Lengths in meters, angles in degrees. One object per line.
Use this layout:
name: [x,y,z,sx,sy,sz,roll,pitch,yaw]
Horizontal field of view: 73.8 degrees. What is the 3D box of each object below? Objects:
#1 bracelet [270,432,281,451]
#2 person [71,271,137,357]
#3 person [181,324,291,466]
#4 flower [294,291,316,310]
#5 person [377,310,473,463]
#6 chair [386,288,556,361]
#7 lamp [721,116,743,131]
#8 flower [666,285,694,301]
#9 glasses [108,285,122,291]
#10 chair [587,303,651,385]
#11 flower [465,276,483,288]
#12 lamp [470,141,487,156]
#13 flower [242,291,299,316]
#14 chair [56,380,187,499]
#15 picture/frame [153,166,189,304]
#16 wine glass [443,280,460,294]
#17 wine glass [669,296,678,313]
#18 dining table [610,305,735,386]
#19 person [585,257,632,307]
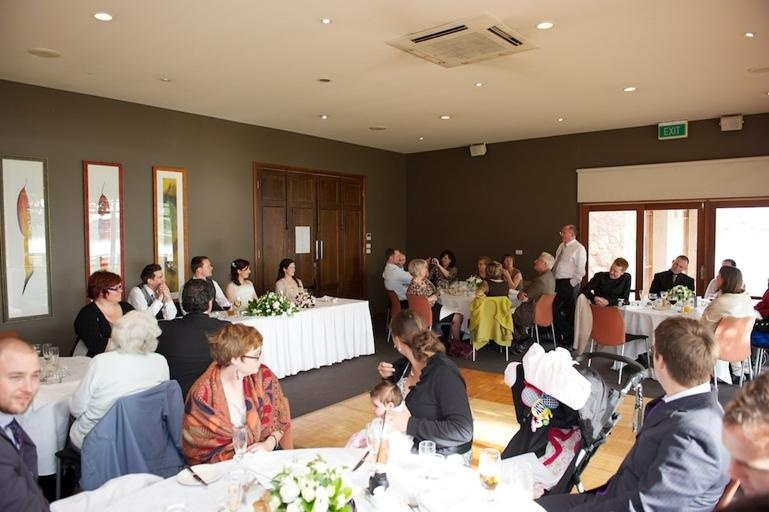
bracelet: [-0.806,1.336,3.737,0.089,0.127,0.067,0,-1,-23]
person: [-3.049,0.656,5.545,0.552,0.976,0.728,7,4,10]
person: [-1.042,1.082,3.680,0.566,1.092,0.802,4,2,41]
flower: [-1.198,0.639,7.526,0.237,0.211,0.234,-3,3,-38]
person: [0.222,0.863,3.626,0.538,0.925,0.684,-2,3,-30]
chair: [1.376,0.966,7.771,1.432,0.755,1.215,-1,-2,35]
lamp: [5.829,-2.230,8.587,0.335,0.255,0.146,1,3,37]
flower: [4.196,0.518,7.230,0.262,0.201,0.256,-1,-1,12]
glasses: [-2.900,0.330,5.448,0.123,0.041,0.124,-2,6,17]
chair: [3.187,1.119,6.980,0.689,0.981,0.644,-3,4,-15]
flower: [1.582,0.443,8.984,0.198,0.144,0.207,3,-3,-14]
lamp: [2.026,-2.327,11.066,0.315,0.248,0.221,-1,18,31]
flower: [-1.539,0.658,6.841,0.387,0.210,0.406,-3,-2,12]
chair: [-1.884,1.301,3.689,0.459,0.809,0.816,19,14,30]
picture/frame: [-3.407,-0.334,8.121,0.600,2.162,0.074,2,4,13]
wine glass: [1.176,0.545,9.140,0.217,0.173,0.188,1,-1,-28]
wine glass: [4.131,0.667,7.306,0.152,0.229,0.142,-4,6,-42]
dining table: [3.910,0.922,6.902,1.425,0.799,1.442,-1,2,-12]
person: [3.467,0.410,7.923,0.583,0.867,0.514,8,21,0]
